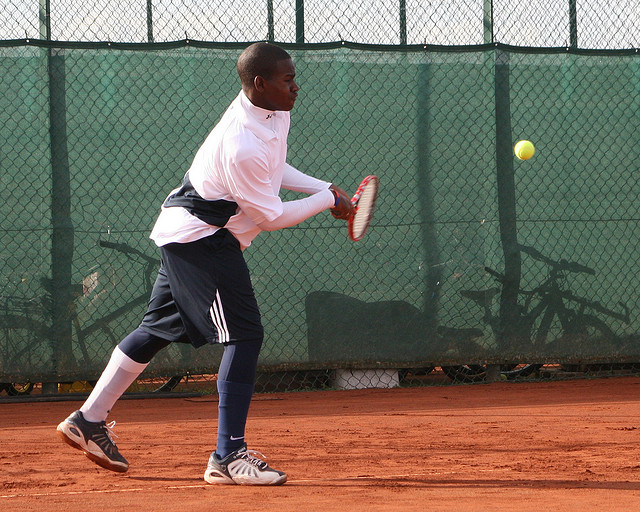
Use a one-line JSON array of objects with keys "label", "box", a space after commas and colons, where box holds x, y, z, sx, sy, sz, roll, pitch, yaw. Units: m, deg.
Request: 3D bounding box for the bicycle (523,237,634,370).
[{"label": "bicycle", "box": [2.096, 0.493, 7.499, 1.141, 0.813, 0.646, 15, -11, -2]}]

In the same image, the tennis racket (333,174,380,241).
[{"label": "tennis racket", "box": [0.221, -0.278, 5.163, 0.064, 0.407, 0.218, 14, -7, 31]}]

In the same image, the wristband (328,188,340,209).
[{"label": "wristband", "box": [0.084, -0.311, 4.846, 0.041, 0.099, 0.053, 3, -1, -10]}]

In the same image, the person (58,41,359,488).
[{"label": "person", "box": [-0.540, 0.048, 4.747, 1.266, 2.151, 0.492, 2, -1, 11]}]
